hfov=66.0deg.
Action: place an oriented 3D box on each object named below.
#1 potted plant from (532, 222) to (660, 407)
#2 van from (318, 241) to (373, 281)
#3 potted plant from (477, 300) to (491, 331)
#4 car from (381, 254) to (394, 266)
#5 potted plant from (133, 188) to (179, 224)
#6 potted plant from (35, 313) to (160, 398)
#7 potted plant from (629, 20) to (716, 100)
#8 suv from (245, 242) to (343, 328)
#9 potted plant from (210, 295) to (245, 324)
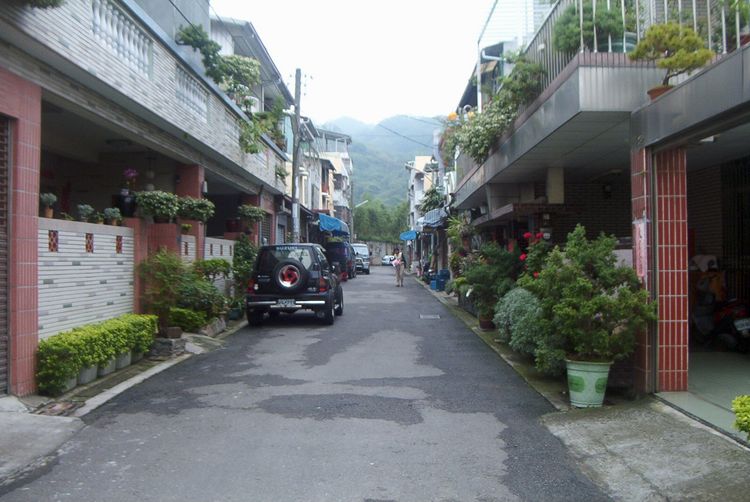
[{"bbox_3d":[3.261,0.964,8.754,1.678,2.657,0.983,3,5,25],"label":"potted plant"},{"bbox_3d":[-1.805,0.433,35.628,1.576,1.632,4.095,0,4,7],"label":"van"},{"bbox_3d":[2.732,1.630,14.285,0.365,0.703,0.273,1,5,11],"label":"potted plant"},{"bbox_3d":[1.490,1.161,68.319,1.286,1.119,2.285,-1,-6,1],"label":"car"},{"bbox_3d":[-4.640,-0.933,12.390,0.655,0.579,0.763,0,0,-2],"label":"potted plant"},{"bbox_3d":[-4.657,1.595,9.837,0.479,0.721,2.114,4,-1,9],"label":"potted plant"},{"bbox_3d":[4.862,-2.969,9.742,1.305,1.525,1.440,6,12,41],"label":"potted plant"},{"bbox_3d":[-2.093,0.731,15.989,1.607,1.361,2.757,-1,1,1],"label":"suv"},{"bbox_3d":[-4.032,1.576,15.746,0.710,0.560,0.778,0,1,-5],"label":"potted plant"}]
